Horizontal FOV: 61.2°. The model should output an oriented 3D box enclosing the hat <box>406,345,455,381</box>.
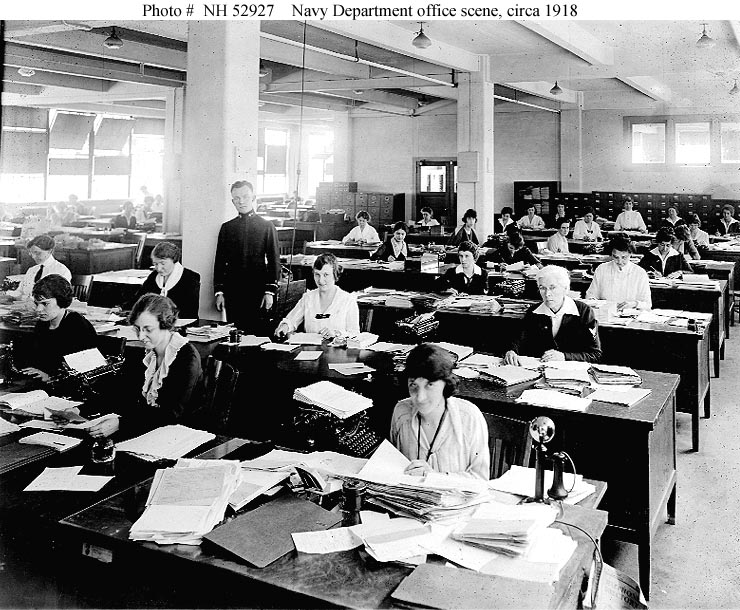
[{"bbox_3d":[0.266,0.252,2.688,0.149,0.151,0.227,7,13,36],"label":"hat"}]
